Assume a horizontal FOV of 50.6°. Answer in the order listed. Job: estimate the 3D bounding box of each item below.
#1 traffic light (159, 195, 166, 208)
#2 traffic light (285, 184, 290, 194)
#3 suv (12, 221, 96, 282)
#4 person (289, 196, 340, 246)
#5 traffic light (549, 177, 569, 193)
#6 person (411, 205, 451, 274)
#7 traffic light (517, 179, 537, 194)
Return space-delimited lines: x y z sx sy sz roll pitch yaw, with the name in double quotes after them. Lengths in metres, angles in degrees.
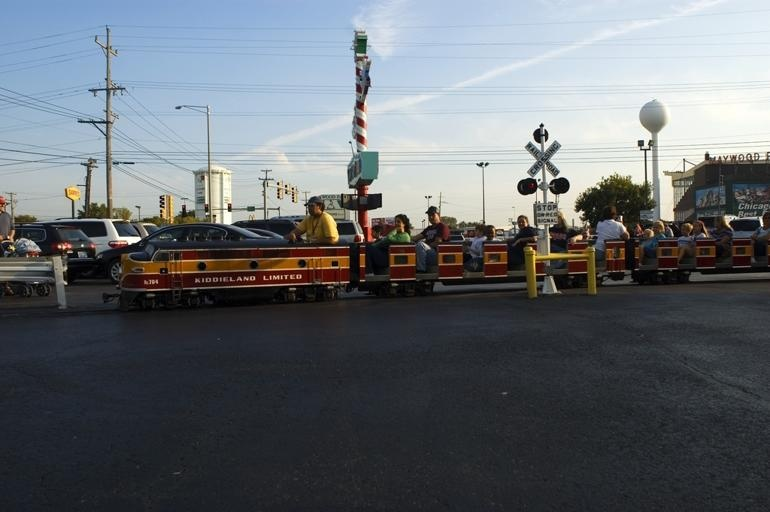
-17.221 -4.176 63.294 0.145 0.890 0.631 3 12 19 "traffic light"
-9.035 -6.168 75.032 0.218 0.559 0.684 -9 14 -35 "traffic light"
-9.706 -0.123 22.547 3.231 1.367 1.507 3 1 10 "suv"
-1.409 -0.732 16.251 0.888 0.965 0.666 4 12 24 "person"
3.963 -1.589 18.557 0.412 0.490 1.642 1 12 11 "traffic light"
0.889 -0.225 17.664 0.946 1.635 0.730 3 -4 -21 "person"
3.380 -1.647 19.329 0.358 0.398 0.390 5 12 27 "traffic light"
